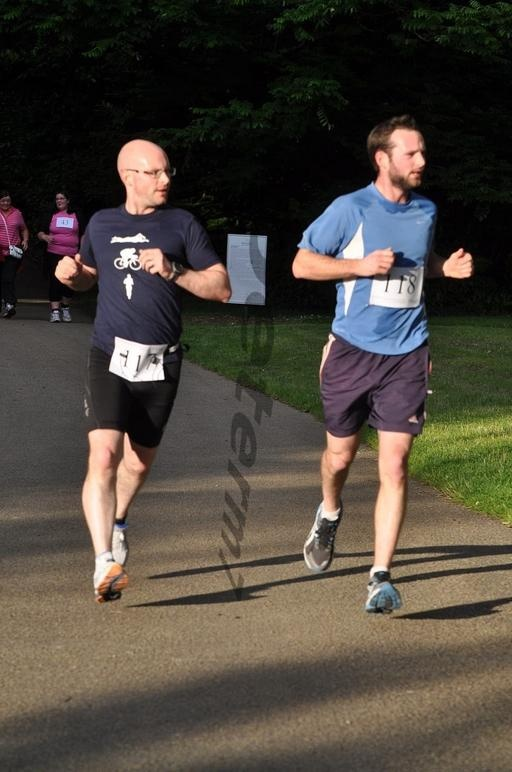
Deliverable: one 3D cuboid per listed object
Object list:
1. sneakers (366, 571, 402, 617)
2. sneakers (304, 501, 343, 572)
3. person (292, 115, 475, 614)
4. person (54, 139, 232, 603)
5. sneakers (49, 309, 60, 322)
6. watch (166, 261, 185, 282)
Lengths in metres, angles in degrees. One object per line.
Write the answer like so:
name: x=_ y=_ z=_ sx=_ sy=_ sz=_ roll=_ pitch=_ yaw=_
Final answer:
sneakers: x=0.465 y=0.762 z=2.973 sx=0.121 sy=0.148 sz=0.129 roll=1 pitch=3 yaw=7
sneakers: x=0.275 y=0.688 z=3.652 sx=0.129 sy=0.326 sz=0.138 roll=20 pitch=-23 yaw=-10
person: x=0.430 y=-0.132 z=3.277 sx=0.542 sy=1.993 sz=0.795 roll=1 pitch=3 yaw=11
person: x=-0.570 y=-0.098 z=3.236 sx=0.698 sy=1.877 sz=0.845 roll=2 pitch=3 yaw=27
sneakers: x=-3.858 y=-1.358 z=15.602 sx=0.152 sy=0.141 sz=0.351 roll=-1 pitch=9 yaw=-16
watch: x=-0.307 y=-0.432 z=3.060 sx=0.052 sy=0.066 sz=0.073 roll=37 pitch=44 yaw=0
